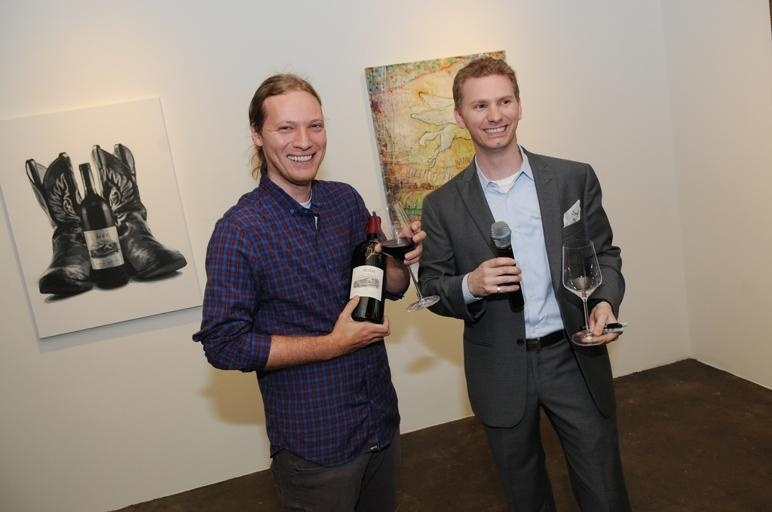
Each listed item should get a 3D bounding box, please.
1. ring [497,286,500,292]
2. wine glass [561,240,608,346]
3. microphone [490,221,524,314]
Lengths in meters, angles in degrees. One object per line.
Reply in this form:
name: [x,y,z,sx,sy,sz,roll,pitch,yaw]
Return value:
ring: [0.528,0.151,2.479,0.007,0.016,0.021,-12,15,-25]
wine glass: [0.939,0.160,2.560,0.167,0.476,0.267,-1,14,20]
microphone: [0.598,0.046,2.627,0.151,0.465,0.279,-3,14,12]
